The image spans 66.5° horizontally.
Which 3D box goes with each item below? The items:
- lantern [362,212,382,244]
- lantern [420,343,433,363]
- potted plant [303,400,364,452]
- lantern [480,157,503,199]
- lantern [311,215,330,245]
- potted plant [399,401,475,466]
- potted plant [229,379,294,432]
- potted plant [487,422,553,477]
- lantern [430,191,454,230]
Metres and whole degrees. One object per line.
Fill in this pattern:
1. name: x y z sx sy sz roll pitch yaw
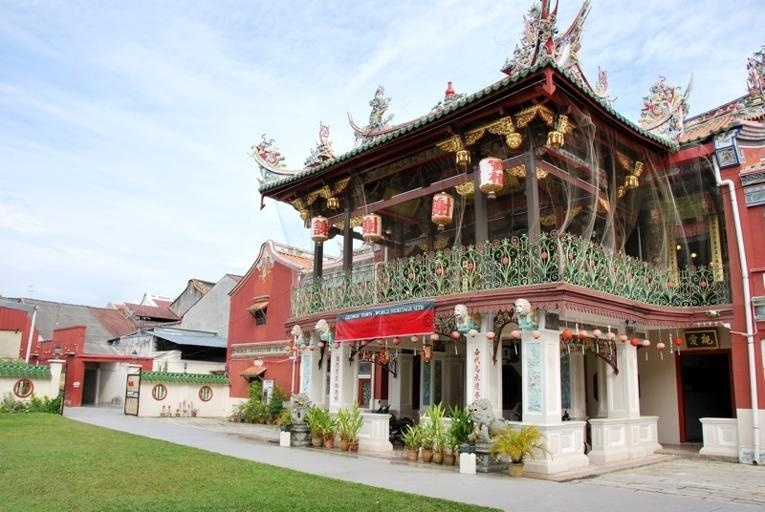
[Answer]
1. lantern: -0.295 -0.829 17.467 0.759 1.140 0.765 0 -5 -2
2. lantern: 1.229 2.701 15.836 0.439 0.529 0.546 3 -2 13
3. potted plant: -1.346 4.974 16.865 1.586 1.080 1.300 -2 -33 4
4. lantern: 2.720 -1.947 14.655 0.654 0.961 0.622 2 -10 -17
5. lantern: -1.981 -0.884 18.556 0.604 0.900 0.671 3 -19 -7
6. potted plant: 1.400 4.512 14.631 0.640 1.419 1.905 17 -25 -40
7. potted plant: -5.289 6.184 25.789 2.699 1.791 2.263 3 -26 -4
8. potted plant: 3.166 4.408 13.535 1.119 0.870 1.044 -4 8 -21
9. lantern: 1.628 -1.250 15.760 0.654 0.999 0.622 12 -13 -34
